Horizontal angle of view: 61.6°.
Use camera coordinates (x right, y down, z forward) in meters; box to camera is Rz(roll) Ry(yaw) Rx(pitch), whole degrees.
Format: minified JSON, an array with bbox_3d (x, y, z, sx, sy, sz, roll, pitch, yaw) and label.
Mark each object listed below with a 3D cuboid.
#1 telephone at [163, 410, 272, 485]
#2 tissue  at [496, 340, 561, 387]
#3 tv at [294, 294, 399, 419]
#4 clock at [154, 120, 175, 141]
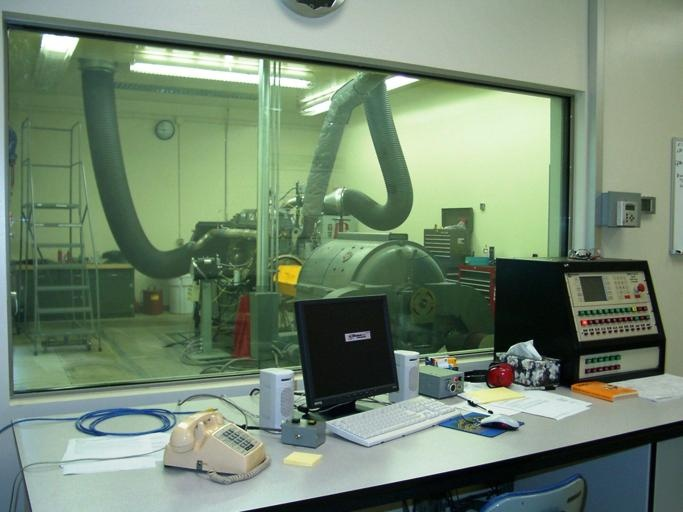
[{"bbox_3d":[-0.455,0.688,2.134,0.365,0.201,0.324,1,-5,28],"label":"telephone"},{"bbox_3d":[0.938,0.538,2.882,0.149,0.202,0.268,-2,5,-44],"label":"tissue "},{"bbox_3d":[-0.002,0.441,2.578,0.489,0.495,0.186,-1,-11,-37],"label":"tv"},{"bbox_3d":[-0.844,-0.602,2.741,0.099,0.100,0.030,-6,13,-27],"label":"clock"}]
